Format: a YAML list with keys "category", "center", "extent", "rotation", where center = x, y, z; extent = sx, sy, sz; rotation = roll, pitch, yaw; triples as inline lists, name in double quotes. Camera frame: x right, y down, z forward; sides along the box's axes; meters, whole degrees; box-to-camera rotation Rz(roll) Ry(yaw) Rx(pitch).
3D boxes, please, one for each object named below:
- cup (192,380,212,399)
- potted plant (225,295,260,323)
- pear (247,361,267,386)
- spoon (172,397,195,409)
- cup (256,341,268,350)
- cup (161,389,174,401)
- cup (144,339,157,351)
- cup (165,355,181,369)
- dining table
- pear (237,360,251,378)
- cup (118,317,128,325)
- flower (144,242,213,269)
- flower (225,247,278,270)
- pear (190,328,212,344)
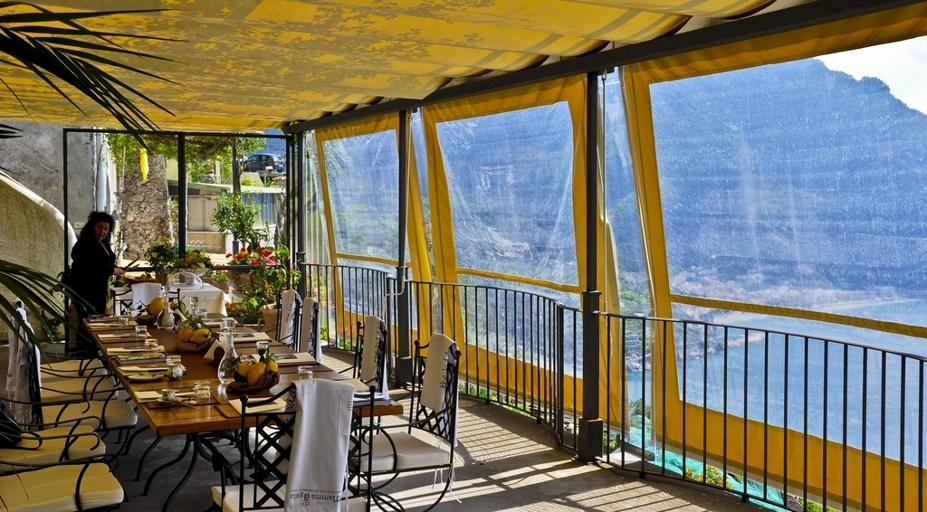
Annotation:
- category: "cup"
  center: [-2.218, 1.132, 5.646]
  extent: [0.166, 0.128, 0.149]
  rotation: [0, -2, -11]
- category: "potted plant"
  center: [-3.724, 0.902, 11.299]
  extent: [0.533, 0.314, 0.501]
  rotation: [4, 1, 24]
- category: "pear"
  center: [-1.772, 1.001, 5.677]
  extent: [0.138, 0.181, 0.119]
  rotation: [36, -16, -13]
- category: "spoon"
  center: [-2.274, 1.198, 5.424]
  extent: [0.145, 0.028, 0.073]
  rotation: [0, 10, -9]
- category: "cup"
  center: [-1.775, 0.788, 5.854]
  extent: [0.098, 0.074, 0.088]
  rotation: [0, -5, 1]
- category: "cup"
  center: [-2.415, 1.139, 5.434]
  extent: [0.093, 0.070, 0.096]
  rotation: [3, -10, 1]
- category: "cup"
  center: [-3.103, 0.882, 6.627]
  extent: [0.110, 0.070, 0.109]
  rotation: [1, -6, 0]
- category: "cup"
  center: [-2.620, 0.963, 6.057]
  extent: [0.135, 0.085, 0.135]
  rotation: [2, -4, 0]
- category: "dining table"
  center: [-2.216, 0.602, 5.427]
  extent: [1.505, 0.724, 3.404]
  rotation: [1, 4, -30]
- category: "pear"
  center: [-1.885, 0.963, 5.694]
  extent: [0.125, 0.133, 0.119]
  rotation: [7, -9, -5]
- category: "cup"
  center: [-3.943, 0.752, 7.697]
  extent: [0.148, 0.086, 0.074]
  rotation: [-1, -7, 9]
- category: "flower"
  center: [-4.500, -0.006, 10.424]
  extent: [0.983, 0.405, 0.308]
  rotation: [0, 3, 10]
- category: "flower"
  center: [-3.629, 0.049, 11.449]
  extent: [0.559, 0.230, 0.489]
  rotation: [-2, -2, 29]
- category: "pear"
  center: [-2.639, 0.801, 6.717]
  extent: [0.159, 0.125, 0.183]
  rotation: [14, 8, -6]
